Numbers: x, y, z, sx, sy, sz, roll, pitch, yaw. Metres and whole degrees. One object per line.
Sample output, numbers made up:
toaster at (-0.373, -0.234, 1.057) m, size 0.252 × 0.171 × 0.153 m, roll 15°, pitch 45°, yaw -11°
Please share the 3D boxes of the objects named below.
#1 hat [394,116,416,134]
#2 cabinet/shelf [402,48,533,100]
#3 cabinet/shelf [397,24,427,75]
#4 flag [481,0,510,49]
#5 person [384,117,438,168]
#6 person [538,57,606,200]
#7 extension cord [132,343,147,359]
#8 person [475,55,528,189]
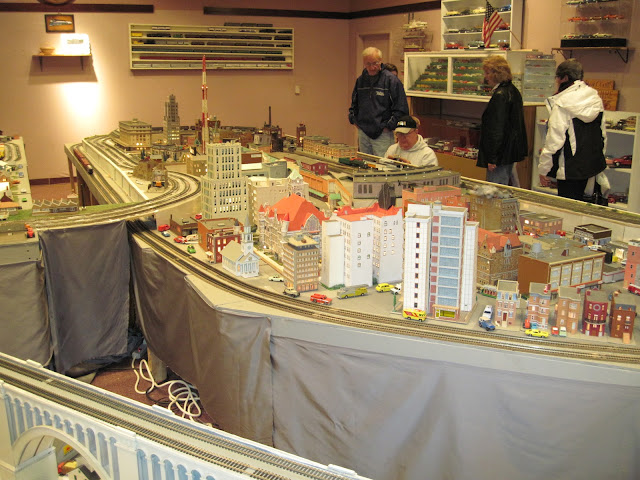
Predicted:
hat at (1.003, -1.331, 6.316) m, size 0.176 × 0.145 × 0.249 m, roll 8°, pitch 18°, yaw 39°
cabinet/shelf at (2.524, -2.979, 10.215) m, size 0.572 × 0.808 × 2.018 m, roll -1°, pitch 14°, yaw -40°
cabinet/shelf at (2.063, -4.367, 11.885) m, size 0.482 × 1.048 × 0.778 m, roll 6°, pitch 19°, yaw 21°
flag at (2.970, -3.692, 9.308) m, size 0.370 × 0.861 × 1.064 m, roll 2°, pitch 13°, yaw 19°
person at (1.028, -1.165, 6.441) m, size 0.409 × 0.541 × 0.778 m, roll -9°, pitch 14°, yaw -30°
person at (2.993, -1.279, 6.492) m, size 0.726 × 1.646 × 0.497 m, roll 5°, pitch 13°, yaw 30°
extension cord at (-2.085, 1.284, 6.310) m, size 0.160 × 0.172 × 0.097 m, roll -11°, pitch 15°, yaw -36°
person at (2.443, -1.560, 7.321) m, size 0.611 × 1.697 × 0.363 m, roll 1°, pitch 11°, yaw 14°
